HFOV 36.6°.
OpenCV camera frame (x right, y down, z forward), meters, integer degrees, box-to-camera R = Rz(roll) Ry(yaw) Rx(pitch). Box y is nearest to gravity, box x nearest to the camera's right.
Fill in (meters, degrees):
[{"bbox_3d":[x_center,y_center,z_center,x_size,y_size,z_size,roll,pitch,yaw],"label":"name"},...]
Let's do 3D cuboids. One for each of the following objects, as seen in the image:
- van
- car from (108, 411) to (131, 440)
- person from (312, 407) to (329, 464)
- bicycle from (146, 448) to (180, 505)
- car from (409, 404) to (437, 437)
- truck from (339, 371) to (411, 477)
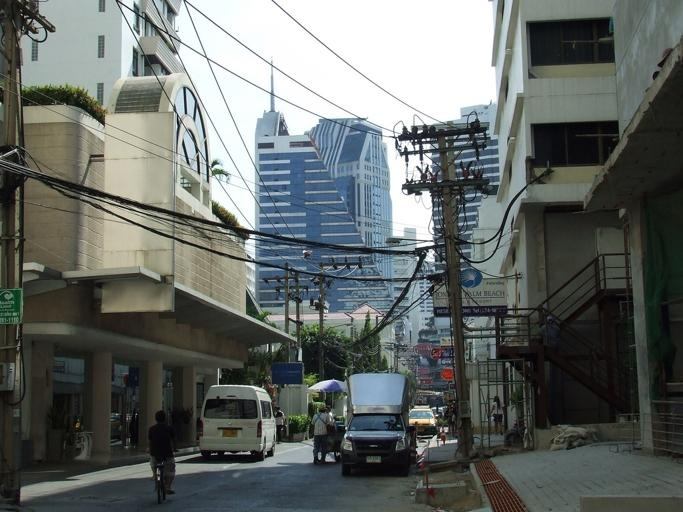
[{"bbox_3d":[-3.831,6.154,39.313,1.709,2.033,3.685,-1,-6,9],"label":"van"},{"bbox_3d":[-10.339,7.934,48.142,0.737,1.332,2.790,-1,-14,-9],"label":"car"},{"bbox_3d":[-0.750,6.581,37.886,0.628,2.067,1.119,-2,-12,-3],"label":"person"},{"bbox_3d":[-4.826,6.013,27.779,0.595,1.303,1.787,0,-13,-11],"label":"bicycle"},{"bbox_3d":[4.566,9.100,57.145,1.676,1.859,3.891,-2,-15,2],"label":"car"},{"bbox_3d":[1.334,5.689,35.672,1.484,2.365,3.943,-1,-14,4],"label":"truck"}]
